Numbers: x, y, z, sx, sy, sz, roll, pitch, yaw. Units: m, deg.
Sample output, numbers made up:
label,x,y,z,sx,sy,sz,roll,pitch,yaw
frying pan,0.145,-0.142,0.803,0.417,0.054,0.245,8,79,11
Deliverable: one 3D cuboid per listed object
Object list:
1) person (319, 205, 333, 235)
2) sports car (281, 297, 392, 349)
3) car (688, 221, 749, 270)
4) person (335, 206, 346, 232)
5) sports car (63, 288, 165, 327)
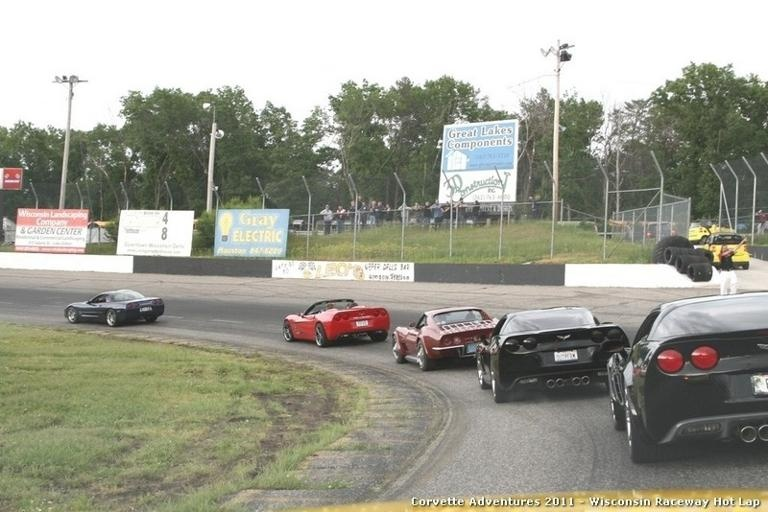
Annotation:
label,x,y,z,sx,sy,sz,roll,pitch,yaw
person,-2.644,-1.476,40.183,0.691,1.064,0.405,1,1,27
sports car,-1.387,1.960,23.831,2.870,1.085,1.338,1,1,35
car,13.484,-0.364,34.683,1.730,1.518,3.038,-1,12,-2
person,-2.019,-1.515,39.859,0.590,0.949,0.400,1,1,15
sports car,-9.109,1.710,28.496,2.576,0.799,1.379,5,6,37
